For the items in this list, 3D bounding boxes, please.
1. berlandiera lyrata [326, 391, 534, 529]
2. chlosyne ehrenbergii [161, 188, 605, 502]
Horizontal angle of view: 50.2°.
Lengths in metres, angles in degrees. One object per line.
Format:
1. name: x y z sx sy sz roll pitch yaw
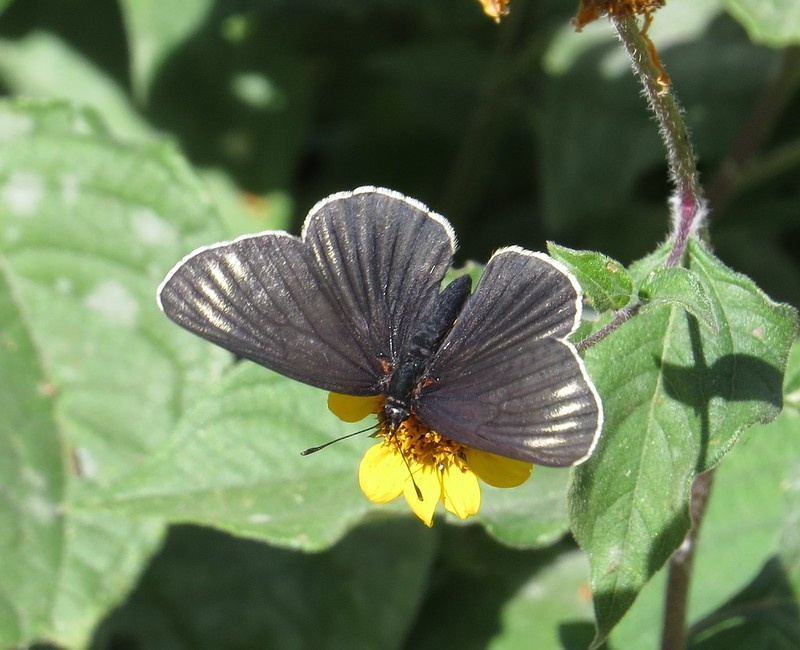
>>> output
1. berlandiera lyrata: 0.039 0.229 1.305 0.343 0.094 0.209 26 87 18
2. chlosyne ehrenbergii: -0.001 -0.011 1.380 0.613 0.789 0.481 -3 106 3
